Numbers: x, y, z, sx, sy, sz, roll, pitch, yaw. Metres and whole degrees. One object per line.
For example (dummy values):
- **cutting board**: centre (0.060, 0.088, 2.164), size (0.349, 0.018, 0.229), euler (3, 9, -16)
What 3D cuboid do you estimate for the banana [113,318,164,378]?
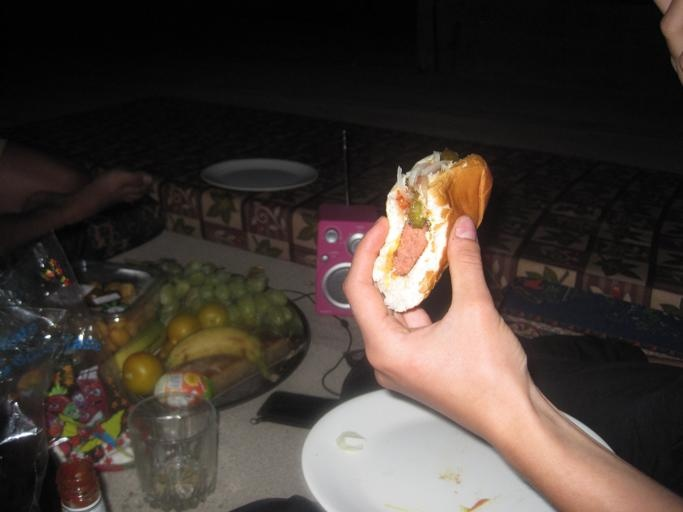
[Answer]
- **banana**: centre (-0.500, 0.237, 1.238), size (0.043, 0.047, 0.146), euler (19, 38, 25)

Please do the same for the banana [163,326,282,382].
- **banana**: centre (-0.301, 0.235, 1.181), size (0.254, 0.063, 0.142), euler (5, 33, -28)

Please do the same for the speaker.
- **speaker**: centre (0.009, 0.008, 1.465), size (0.213, 0.309, 0.208), euler (-8, 24, -25)

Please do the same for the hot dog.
- **hot dog**: centre (0.193, -0.049, 1.106), size (0.169, 0.375, 0.210), euler (14, 11, -46)

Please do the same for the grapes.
- **grapes**: centre (-0.340, 0.076, 1.407), size (0.411, 0.147, 0.157), euler (13, -2, 24)

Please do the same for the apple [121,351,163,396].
- **apple**: centre (-0.481, 0.280, 1.178), size (0.096, 0.113, 0.092), euler (-5, 10, -45)
